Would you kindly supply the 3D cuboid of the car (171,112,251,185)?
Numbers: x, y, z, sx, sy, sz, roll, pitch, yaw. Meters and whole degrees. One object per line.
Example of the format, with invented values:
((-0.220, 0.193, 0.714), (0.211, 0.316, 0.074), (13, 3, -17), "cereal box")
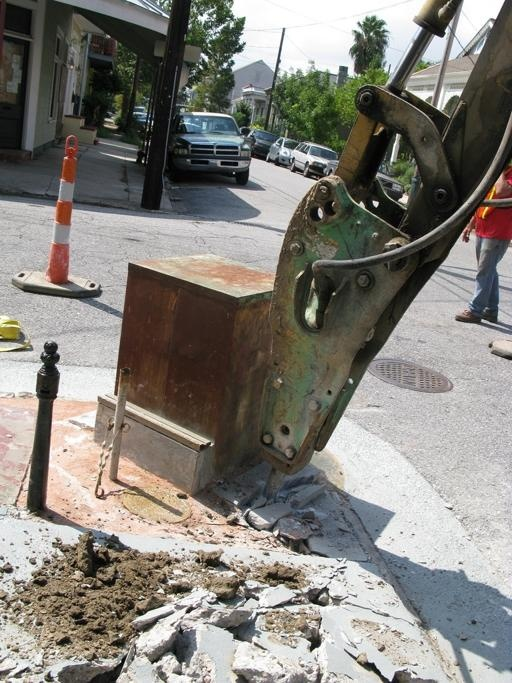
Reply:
((-1.892, -7.049, 19.764), (2.524, 2.102, 4.764), (-3, 25, -13), "car")
